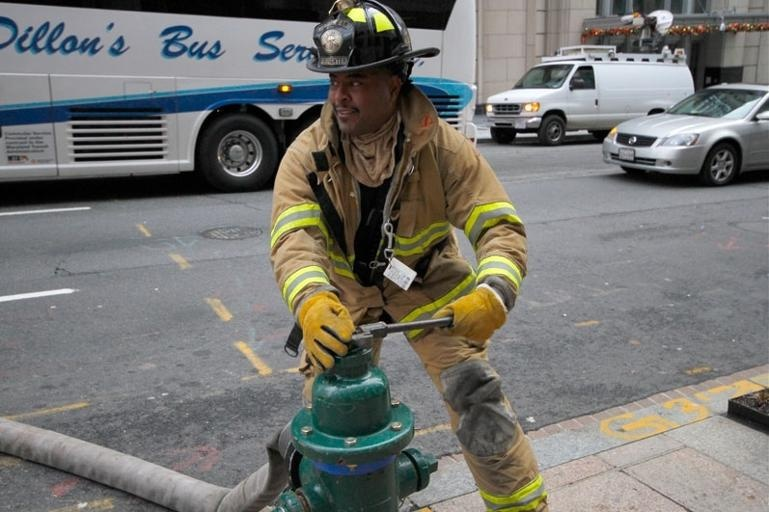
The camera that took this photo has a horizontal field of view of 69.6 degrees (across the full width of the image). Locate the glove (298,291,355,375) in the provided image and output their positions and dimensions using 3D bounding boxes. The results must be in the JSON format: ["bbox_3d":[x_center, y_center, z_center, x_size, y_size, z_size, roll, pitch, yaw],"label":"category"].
[{"bbox_3d":[-0.243,0.325,2.367,0.197,0.331,0.109,-15,-12,-7],"label":"glove"}]

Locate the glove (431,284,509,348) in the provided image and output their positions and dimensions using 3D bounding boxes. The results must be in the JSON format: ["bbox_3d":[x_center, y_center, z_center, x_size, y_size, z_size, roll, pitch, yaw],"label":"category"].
[{"bbox_3d":[0.393,0.302,2.532,0.379,0.298,0.151,-14,19,-28],"label":"glove"}]
